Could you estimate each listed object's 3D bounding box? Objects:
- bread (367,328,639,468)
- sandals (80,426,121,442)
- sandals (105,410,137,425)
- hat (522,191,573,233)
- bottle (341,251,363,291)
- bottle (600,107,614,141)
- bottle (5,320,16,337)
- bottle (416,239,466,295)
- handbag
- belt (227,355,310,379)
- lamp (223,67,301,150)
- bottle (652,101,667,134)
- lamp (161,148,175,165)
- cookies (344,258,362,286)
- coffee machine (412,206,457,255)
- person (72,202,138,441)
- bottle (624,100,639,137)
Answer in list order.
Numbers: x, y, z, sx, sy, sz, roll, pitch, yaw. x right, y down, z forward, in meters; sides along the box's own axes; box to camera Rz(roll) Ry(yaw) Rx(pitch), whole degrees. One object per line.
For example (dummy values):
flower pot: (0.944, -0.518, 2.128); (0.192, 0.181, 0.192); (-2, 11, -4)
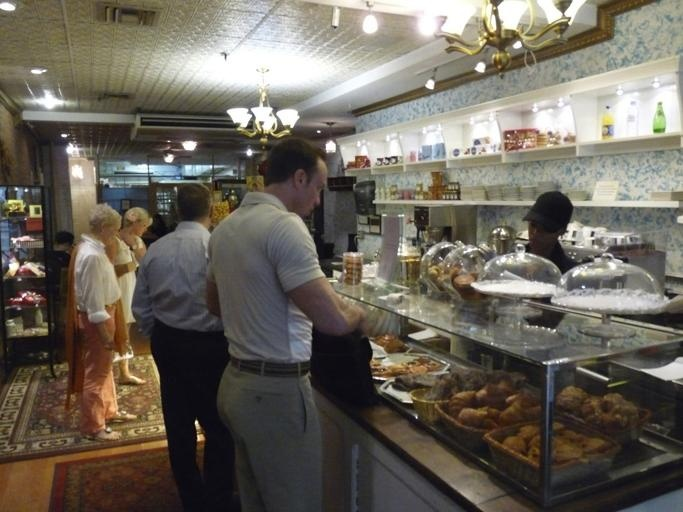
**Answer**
bread: (0.692, 0.608, 2.176); (0.952, 0.364, 0.397); (8, 13, 42)
sandals: (-1.982, 1.481, 4.317); (0.234, 0.063, 0.138); (0, 8, -9)
sandals: (-1.957, 1.435, 4.638); (0.256, 0.094, 0.094); (0, 1, -16)
hat: (1.371, -0.323, 3.451); (0.352, 0.188, 0.247); (8, 5, 28)
bottle: (0.066, 0.076, 3.168); (0.129, 0.194, 0.122); (0, 9, 0)
bottle: (2.391, -1.194, 4.656); (0.116, 0.314, 0.374); (4, 11, 26)
bottle: (-3.791, 0.833, 5.986); (0.088, 0.182, 0.081); (-1, 10, 0)
bottle: (0.521, 0.064, 2.837); (0.283, 0.284, 0.217); (8, -4, -41)
handbag: (-0.009, 0.591, 2.699); (0.418, 0.392, 0.214); (2, 6, 11)
belt: (-0.297, 0.485, 2.255); (0.298, 0.081, 0.067); (-1, 10, 0)
lamp: (-0.952, -1.794, 6.425); (0.912, 0.909, 0.868); (-3, 4, -27)
bottle: (2.623, -1.142, 4.288); (0.099, 0.277, 0.326); (4, 11, 30)
lamp: (-4.151, -2.442, 12.795); (0.296, 0.288, 0.520); (0, 5, -9)
cookies: (0.067, 0.100, 3.111); (0.141, 0.164, 0.143); (0, 3, -4)
coffee machine: (1.148, -0.372, 6.695); (0.507, 0.708, 0.736); (0, 2, -7)
person: (-2.008, 0.562, 4.317); (0.392, 1.891, 0.501); (0, 10, 8)
bottle: (2.553, -1.212, 4.564); (0.095, 0.311, 0.158); (4, 11, 29)
